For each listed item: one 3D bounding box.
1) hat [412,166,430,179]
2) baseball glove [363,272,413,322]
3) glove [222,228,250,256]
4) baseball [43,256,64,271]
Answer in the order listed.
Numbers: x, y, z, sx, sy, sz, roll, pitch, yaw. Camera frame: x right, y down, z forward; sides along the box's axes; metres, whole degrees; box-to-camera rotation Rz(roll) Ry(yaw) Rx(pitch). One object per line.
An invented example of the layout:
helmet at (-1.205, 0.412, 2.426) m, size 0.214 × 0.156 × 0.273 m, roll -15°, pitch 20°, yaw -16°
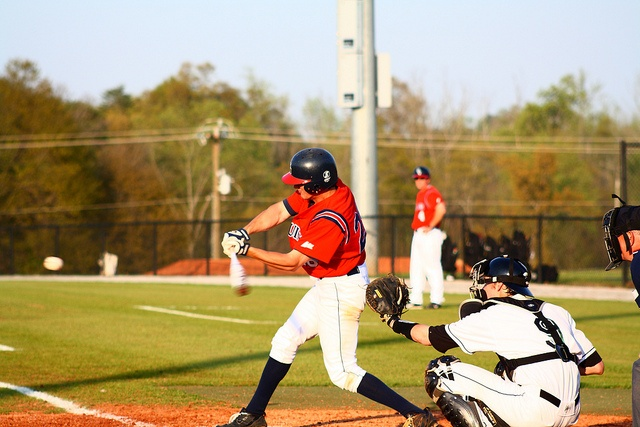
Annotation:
hat at (1.904, -0.771, 24.840) m, size 0.258 × 0.148 × 0.192 m, roll 2°, pitch 0°, yaw -32°
baseball glove at (0.982, 1.195, 19.332) m, size 0.430 × 0.715 × 0.289 m, roll 0°, pitch 2°, yaw -3°
glove at (-1.178, 0.434, 19.163) m, size 0.303 × 0.361 × 0.145 m, roll -11°, pitch -25°, yaw 13°
baseball at (-4.227, 0.802, 21.468) m, size 0.218 × 0.142 × 0.220 m, roll 3°, pitch 4°, yaw -45°
